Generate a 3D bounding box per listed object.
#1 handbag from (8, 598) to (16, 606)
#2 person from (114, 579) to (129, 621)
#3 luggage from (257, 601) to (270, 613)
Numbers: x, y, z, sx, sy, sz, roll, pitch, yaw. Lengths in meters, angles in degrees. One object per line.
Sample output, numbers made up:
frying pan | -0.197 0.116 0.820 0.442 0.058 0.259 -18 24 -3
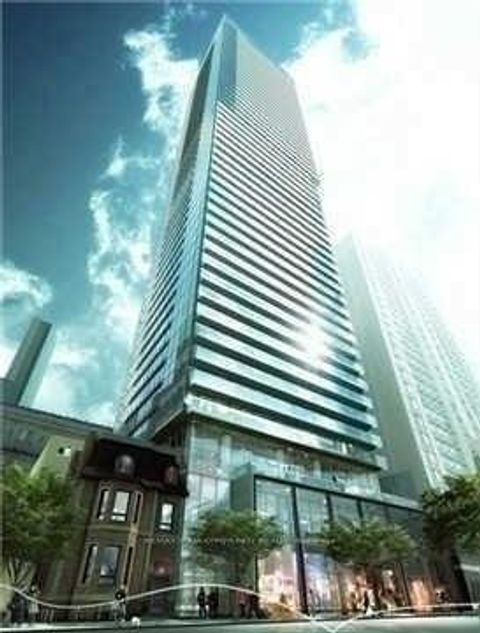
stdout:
handbag | -8.783 11.107 15.719 0.237 0.262 0.953 11 -38 -19
person | -5.827 13.940 19.979 0.519 1.565 2.447 7 -36 -14
luggage | 1.292 16.284 22.569 0.595 0.470 0.538 8 -37 -15
